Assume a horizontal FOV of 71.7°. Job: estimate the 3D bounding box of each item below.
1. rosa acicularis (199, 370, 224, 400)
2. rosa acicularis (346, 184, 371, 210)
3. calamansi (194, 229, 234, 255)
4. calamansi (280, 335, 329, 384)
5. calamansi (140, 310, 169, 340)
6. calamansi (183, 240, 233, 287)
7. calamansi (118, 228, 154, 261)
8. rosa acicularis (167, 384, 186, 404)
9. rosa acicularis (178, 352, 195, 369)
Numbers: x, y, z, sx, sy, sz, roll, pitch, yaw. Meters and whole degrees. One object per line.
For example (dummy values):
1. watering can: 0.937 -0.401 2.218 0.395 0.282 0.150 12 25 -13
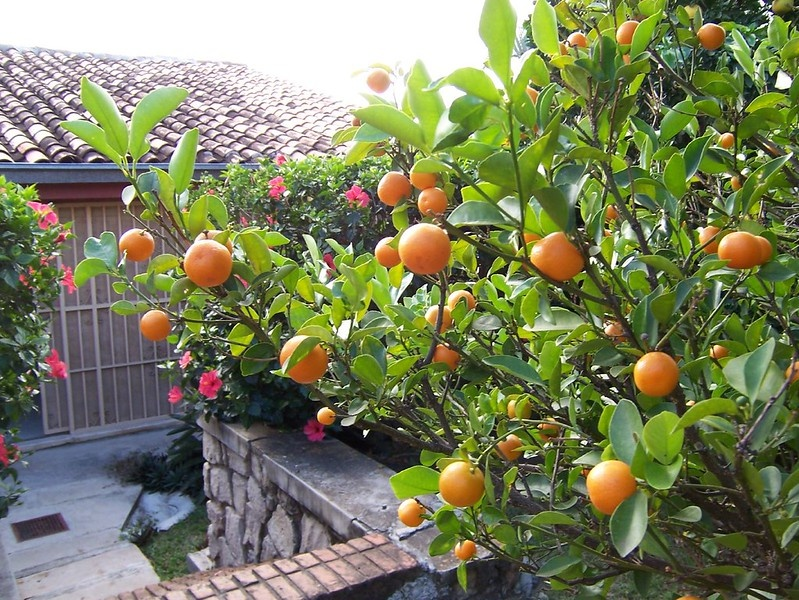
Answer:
1. rosa acicularis: -1.347 0.596 3.959 0.151 0.179 0.175 -5 12 -20
2. rosa acicularis: -0.295 -0.821 4.432 0.089 0.181 0.186 -12 -21 -41
3. calamansi: -0.427 -0.149 1.324 0.072 0.064 0.082 -1 -21 12
4. calamansi: -0.211 0.137 1.265 0.097 0.107 0.096 -7 1 41
5. calamansi: -0.606 0.061 1.408 0.081 0.087 0.078 1 3 0
6. calamansi: -0.412 -0.078 1.194 0.112 0.105 0.110 -5 1 -27
7. calamansi: -0.648 -0.135 1.374 0.068 0.087 0.231 -5 12 -22
8. rosa acicularis: -1.803 0.765 4.485 0.102 0.180 0.260 -5 12 -22
9. rosa acicularis: -1.598 0.467 4.271 0.168 0.160 0.081 -11 -14 37
